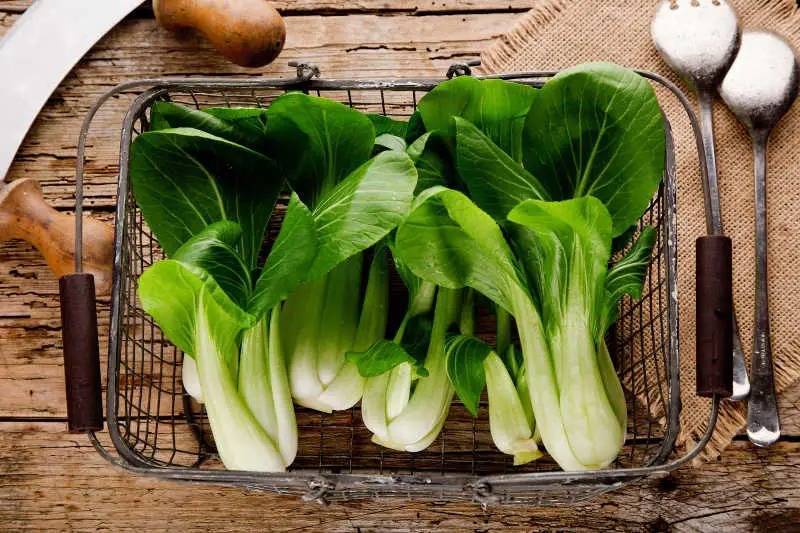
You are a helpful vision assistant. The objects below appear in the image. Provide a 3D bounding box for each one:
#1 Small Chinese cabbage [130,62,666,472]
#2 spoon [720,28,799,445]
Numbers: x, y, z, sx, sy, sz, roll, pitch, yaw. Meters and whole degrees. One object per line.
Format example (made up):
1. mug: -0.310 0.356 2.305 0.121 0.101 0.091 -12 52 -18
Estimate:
1. Small Chinese cabbage: 0.054 -0.002 2.110 0.902 0.299 0.587 -2 90 4
2. spoon: 0.573 -0.052 1.814 0.134 0.626 0.057 1 6 12
